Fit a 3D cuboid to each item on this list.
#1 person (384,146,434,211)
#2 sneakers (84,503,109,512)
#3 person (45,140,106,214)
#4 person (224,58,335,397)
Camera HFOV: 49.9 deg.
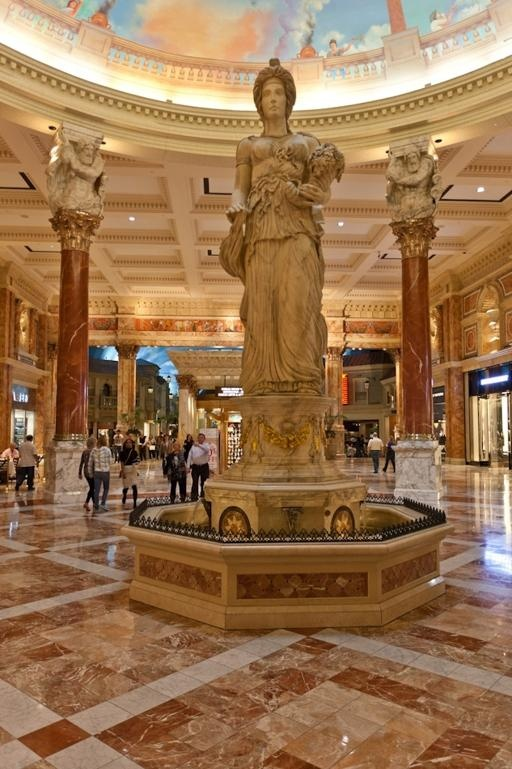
[{"bbox_3d":[2.819,-3.667,9.967,0.899,1.278,0.458,-1,-5,17],"label":"person"},{"bbox_3d":[-2.445,1.898,8.459,0.398,0.184,0.129,-5,-8,17],"label":"sneakers"},{"bbox_3d":[-3.143,-3.656,9.698,0.979,1.238,0.657,2,-6,-23],"label":"person"},{"bbox_3d":[0.192,-1.169,4.059,0.869,2.532,0.464,0,-5,8],"label":"person"}]
